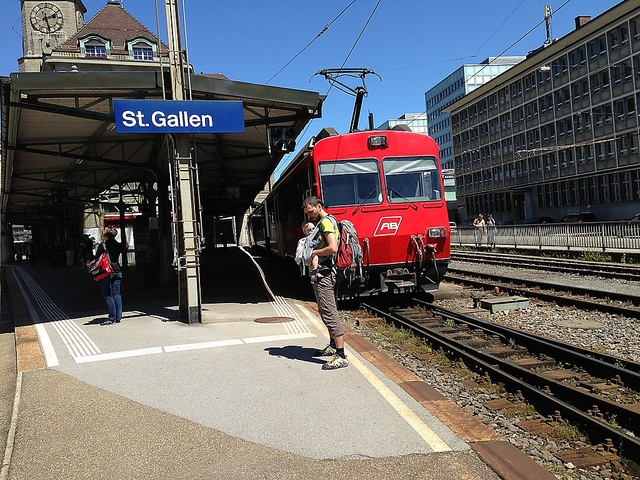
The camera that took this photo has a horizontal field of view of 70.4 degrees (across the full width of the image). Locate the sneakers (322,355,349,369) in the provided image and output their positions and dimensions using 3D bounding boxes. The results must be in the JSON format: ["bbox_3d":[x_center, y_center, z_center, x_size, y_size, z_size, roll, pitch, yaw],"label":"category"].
[{"bbox_3d":[0.214,1.652,6.158,0.368,0.176,0.148,0,-4,-9],"label":"sneakers"}]

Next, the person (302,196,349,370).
[{"bbox_3d":[0.083,0.563,6.262,0.464,2.338,0.581,-3,2,-30],"label":"person"}]

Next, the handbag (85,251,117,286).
[{"bbox_3d":[-4.600,0.558,9.459,0.537,0.436,0.210,-2,2,8],"label":"handbag"}]

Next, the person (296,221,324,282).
[{"bbox_3d":[-0.133,0.155,6.309,0.280,0.886,0.351,0,7,-22],"label":"person"}]

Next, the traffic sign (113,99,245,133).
[{"bbox_3d":[-2.891,-2.593,9.388,2.514,0.725,0.259,-3,2,-16],"label":"traffic sign"}]
